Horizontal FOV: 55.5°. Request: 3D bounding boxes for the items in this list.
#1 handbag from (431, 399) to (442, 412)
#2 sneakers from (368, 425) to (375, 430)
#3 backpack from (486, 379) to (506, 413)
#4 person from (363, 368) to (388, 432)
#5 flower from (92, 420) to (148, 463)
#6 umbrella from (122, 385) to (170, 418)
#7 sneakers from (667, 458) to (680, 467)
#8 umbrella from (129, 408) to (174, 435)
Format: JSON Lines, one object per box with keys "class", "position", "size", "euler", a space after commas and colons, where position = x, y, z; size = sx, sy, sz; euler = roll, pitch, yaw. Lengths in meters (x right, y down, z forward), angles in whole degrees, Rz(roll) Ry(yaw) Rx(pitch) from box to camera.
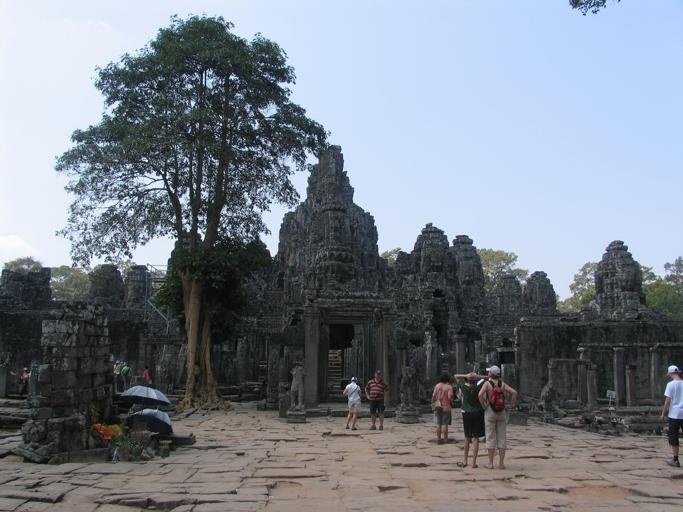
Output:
{"class": "handbag", "position": [2.279, 3.533, 15.441], "size": [0.207, 0.243, 0.344], "euler": [-1, -10, 8]}
{"class": "sneakers", "position": [0.839, 4.663, 17.754], "size": [0.172, 0.158, 0.096], "euler": [2, -11, 12]}
{"class": "backpack", "position": [3.104, 2.768, 12.847], "size": [0.387, 0.606, 0.245], "euler": [9, -13, -42]}
{"class": "person", "position": [0.960, 3.914, 17.715], "size": [0.494, 1.562, 1.150], "euler": [0, -10, 2]}
{"class": "flower", "position": [-4.715, 4.027, 14.129], "size": [0.989, 0.714, 1.024], "euler": [7, -12, -33]}
{"class": "umbrella", "position": [-4.571, 3.267, 15.050], "size": [1.158, 0.504, 1.132], "euler": [17, -23, -20]}
{"class": "sneakers", "position": [6.870, 4.248, 13.465], "size": [0.100, 0.155, 0.257], "euler": [0, 2, -13]}
{"class": "umbrella", "position": [-4.180, 3.690, 14.532], "size": [0.686, 0.254, 0.691], "euler": [0, -16, 30]}
